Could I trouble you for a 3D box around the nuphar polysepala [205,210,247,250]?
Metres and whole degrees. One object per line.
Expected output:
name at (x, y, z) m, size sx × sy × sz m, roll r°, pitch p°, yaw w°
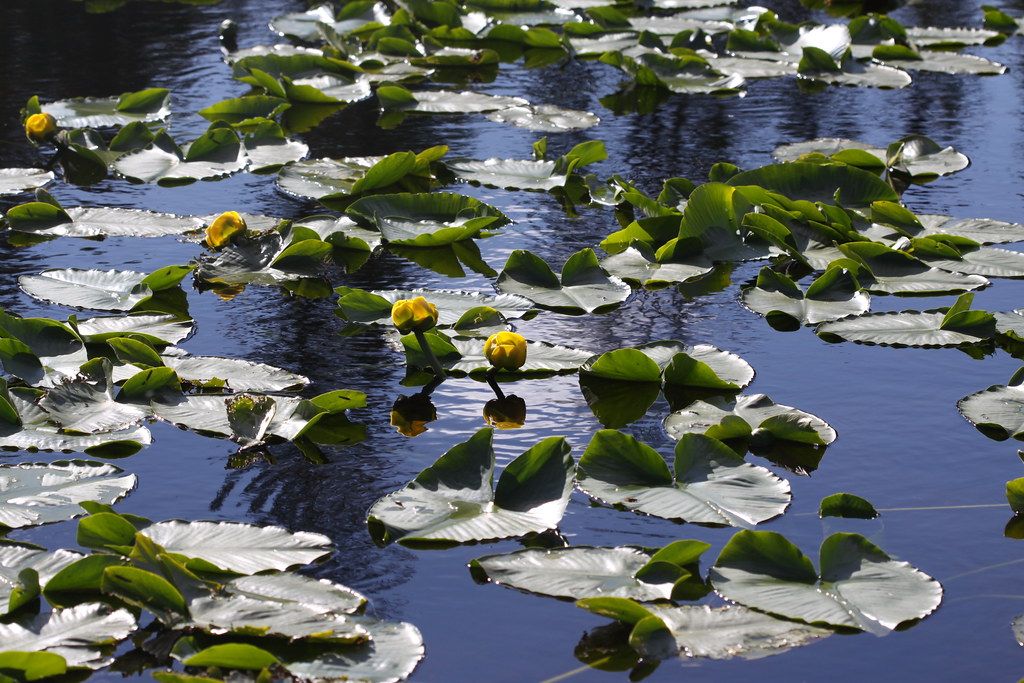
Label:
nuphar polysepala at (-0.825, -0.323, 4.387) m, size 0.126 × 0.107 × 0.163 m, roll -6°, pitch 16°, yaw -9°
